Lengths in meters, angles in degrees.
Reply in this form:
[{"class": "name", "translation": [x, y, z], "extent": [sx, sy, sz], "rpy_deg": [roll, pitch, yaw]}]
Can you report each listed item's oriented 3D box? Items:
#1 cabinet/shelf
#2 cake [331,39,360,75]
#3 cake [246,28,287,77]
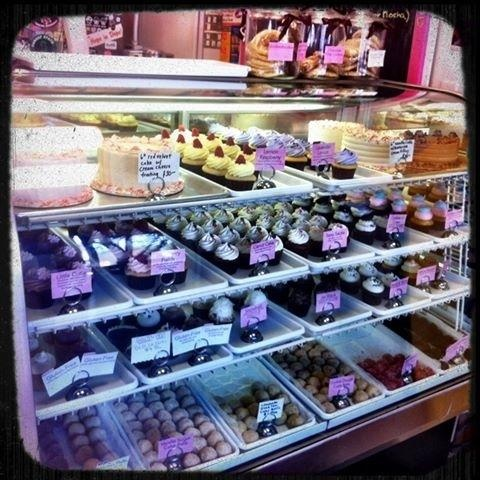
[{"class": "cabinet/shelf", "translation": [0.015, 0.192, 1.684], "extent": [1.791, 1.040, 0.890], "rpy_deg": [-10, 19, -33]}, {"class": "cake", "translation": [0.433, -0.766, 1.699], "extent": [0.131, 0.140, 0.050], "rpy_deg": [5, 21, -18]}, {"class": "cake", "translation": [0.066, -0.681, 1.460], "extent": [0.164, 0.138, 0.150], "rpy_deg": [-4, 34, -9]}]
